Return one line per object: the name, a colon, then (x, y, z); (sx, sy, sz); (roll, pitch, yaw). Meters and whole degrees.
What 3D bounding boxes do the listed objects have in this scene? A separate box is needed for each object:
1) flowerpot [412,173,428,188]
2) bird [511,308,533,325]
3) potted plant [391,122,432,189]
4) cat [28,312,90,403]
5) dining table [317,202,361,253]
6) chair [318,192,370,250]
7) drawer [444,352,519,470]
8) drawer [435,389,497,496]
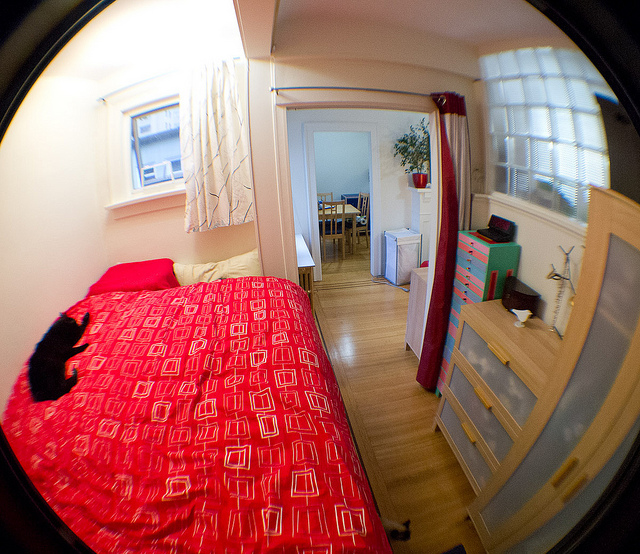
flowerpot: (0.694, -0.668, 2.983); (0.083, 0.087, 0.098); (-5, 15, -15)
bird: (0.541, 0.106, 1.156); (0.033, 0.044, 0.051); (-8, 15, -26)
potted plant: (0.664, -0.816, 2.913); (0.221, 0.427, 0.416); (-7, 15, -20)
cat: (-0.343, 0.109, 0.558); (0.027, 0.109, 0.114); (-4, 14, -11)
dining table: (0.173, -0.529, 3.893); (0.378, 0.411, 0.506); (-2, 16, -4)
chair: (0.221, -0.495, 4.015); (0.393, 0.809, 0.487); (-4, 39, -3)
drawer: (0.475, 0.391, 1.255); (0.102, 0.284, 0.301); (-11, 47, -5)
drawer: (0.503, 0.536, 1.414); (0.095, 0.257, 0.302); (-15, 50, -17)
